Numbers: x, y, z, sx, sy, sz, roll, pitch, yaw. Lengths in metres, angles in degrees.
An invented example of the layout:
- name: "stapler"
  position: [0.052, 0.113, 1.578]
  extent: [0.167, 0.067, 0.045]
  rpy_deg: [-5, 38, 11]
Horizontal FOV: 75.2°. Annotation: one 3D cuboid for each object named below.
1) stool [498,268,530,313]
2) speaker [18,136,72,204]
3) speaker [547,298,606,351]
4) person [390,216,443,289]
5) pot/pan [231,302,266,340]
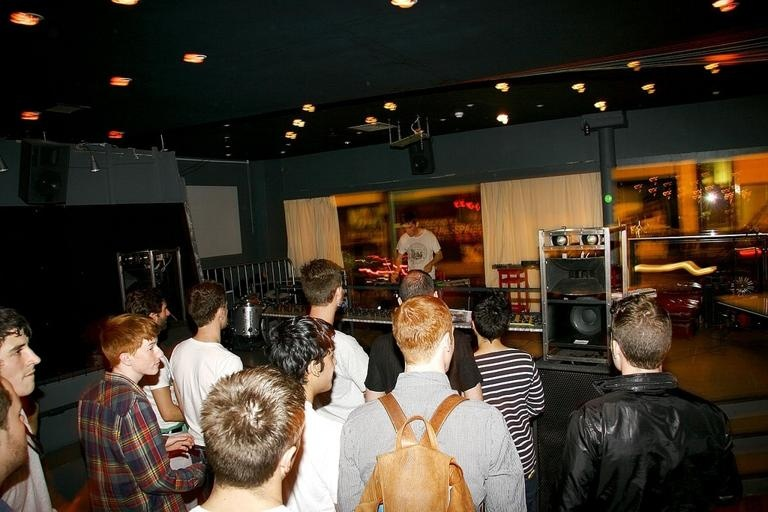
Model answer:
- name: "stool"
  position: [2.366, 0.412, 9.001]
  extent: [0.453, 0.731, 0.478]
  rpy_deg: [-6, 11, 10]
- name: "speaker"
  position: [-4.359, -1.059, 6.423]
  extent: [0.571, 0.775, 0.495]
  rpy_deg: [-6, 4, -37]
- name: "speaker"
  position: [1.981, 0.664, 4.973]
  extent: [0.597, 0.582, 0.463]
  rpy_deg: [-2, 4, 36]
- name: "person"
  position: [0.571, -0.028, 8.548]
  extent: [0.831, 1.346, 0.632]
  rpy_deg: [-3, 14, 5]
- name: "pot/pan"
  position: [-2.232, 0.938, 7.808]
  extent: [0.528, 0.563, 0.525]
  rpy_deg: [2, 2, -8]
